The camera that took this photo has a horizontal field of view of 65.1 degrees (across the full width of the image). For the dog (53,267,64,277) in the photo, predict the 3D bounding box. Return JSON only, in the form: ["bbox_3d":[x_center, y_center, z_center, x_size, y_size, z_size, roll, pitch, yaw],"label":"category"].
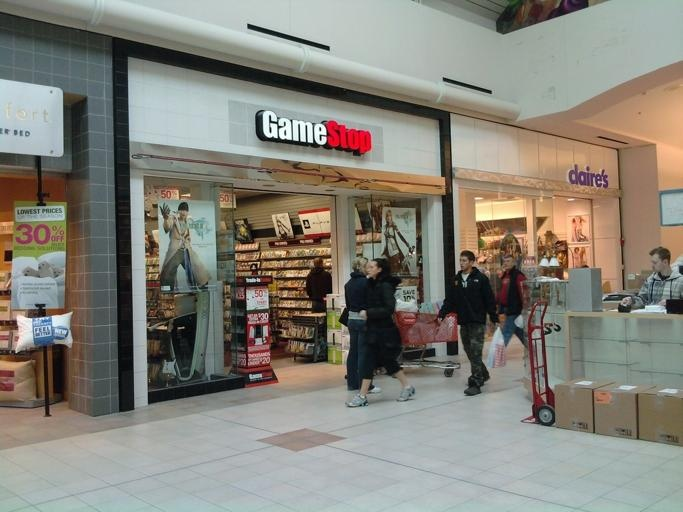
[{"bbox_3d":[-3.569,0.202,6.771,0.116,0.086,0.079,-17,22,3],"label":"dog"}]

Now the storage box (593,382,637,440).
[{"bbox_3d":[2.782,1.617,5.629,0.555,0.448,0.494,3,-4,8],"label":"storage box"}]

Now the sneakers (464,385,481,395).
[{"bbox_3d":[1.792,1.868,7.375,0.101,0.093,0.264,-5,-10,30],"label":"sneakers"}]

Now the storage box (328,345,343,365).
[{"bbox_3d":[-0.098,1.848,9.967,0.231,0.350,0.410,3,-6,-32],"label":"storage box"}]

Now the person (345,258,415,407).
[{"bbox_3d":[0.505,0.997,7.146,0.746,1.925,0.731,-3,-2,16],"label":"person"}]

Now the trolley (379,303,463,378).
[{"bbox_3d":[1.390,1.408,8.736,1.474,1.153,1.115,-2,-3,9],"label":"trolley"}]

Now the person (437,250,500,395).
[{"bbox_3d":[1.797,0.918,7.519,0.737,2.017,0.690,-2,-2,2],"label":"person"}]

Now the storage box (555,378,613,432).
[{"bbox_3d":[2.549,1.603,5.764,0.568,0.479,0.522,1,0,14],"label":"storage box"}]

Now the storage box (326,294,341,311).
[{"bbox_3d":[-0.127,0.857,9.954,0.309,0.252,0.289,2,5,15],"label":"storage box"}]

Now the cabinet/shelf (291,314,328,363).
[{"bbox_3d":[-0.535,1.595,10.667,0.821,0.799,0.968,-4,-6,37],"label":"cabinet/shelf"}]

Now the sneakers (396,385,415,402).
[{"bbox_3d":[0.910,1.869,7.260,0.123,0.153,0.355,-15,-10,30],"label":"sneakers"}]

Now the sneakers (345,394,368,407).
[{"bbox_3d":[0.210,1.891,6.991,0.323,0.128,0.126,8,-10,-44],"label":"sneakers"}]

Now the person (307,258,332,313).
[{"bbox_3d":[-0.445,0.633,11.635,0.412,1.155,0.667,-1,-2,-38],"label":"person"}]
